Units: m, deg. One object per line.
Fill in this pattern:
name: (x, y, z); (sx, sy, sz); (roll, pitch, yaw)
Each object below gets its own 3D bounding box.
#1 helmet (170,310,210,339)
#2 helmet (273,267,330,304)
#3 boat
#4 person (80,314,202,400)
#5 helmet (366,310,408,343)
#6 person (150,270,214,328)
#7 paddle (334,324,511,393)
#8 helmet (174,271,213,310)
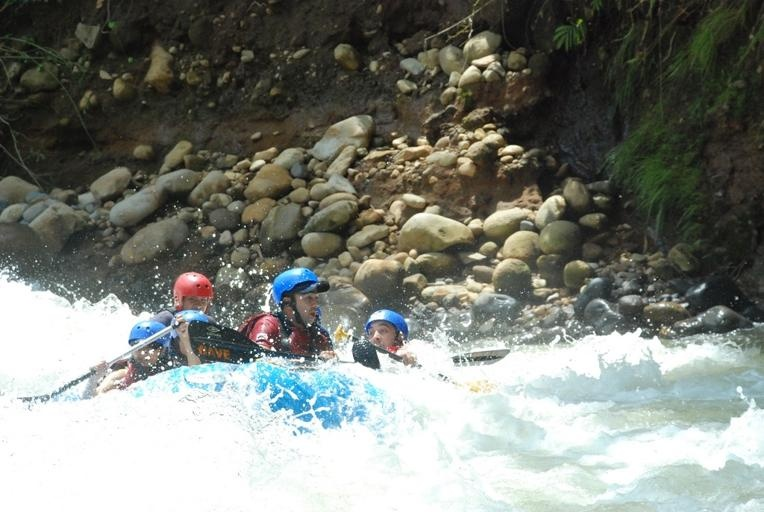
helmet: (-2.098, 0.832, 11.906); (0.396, 0.344, 0.303); (29, 12, 17)
helmet: (-0.871, 0.414, 12.728); (0.593, 0.311, 0.431); (-22, 0, 12)
boat: (-1.377, 1.824, 11.629); (4.410, 1.186, 0.908); (0, 4, -14)
person: (-2.739, 1.319, 12.376); (1.021, 0.329, 0.484); (-23, 46, -11)
helmet: (0.247, 0.869, 13.008); (0.358, 0.489, 0.358); (-5, 7, 34)
person: (-2.235, 0.562, 12.968); (0.741, 0.805, 0.575); (-13, -18, 38)
paddle: (0.703, 1.258, 12.554); (1.644, 1.007, 0.422); (27, 51, 2)
helmet: (-2.142, 0.471, 12.784); (0.375, 0.457, 0.493); (2, 20, -45)
